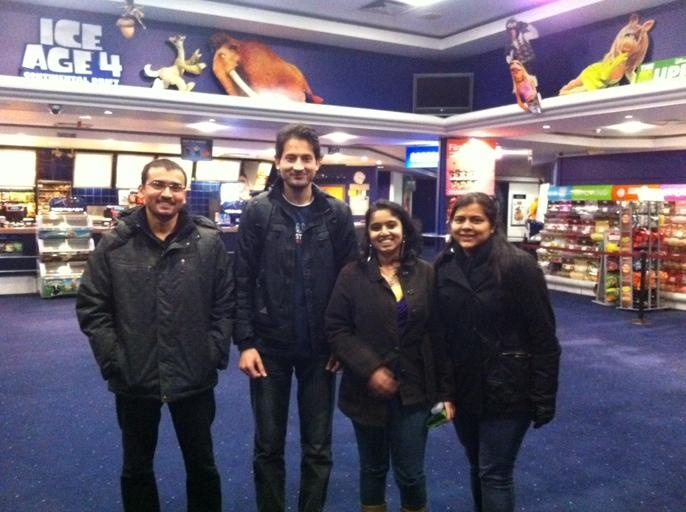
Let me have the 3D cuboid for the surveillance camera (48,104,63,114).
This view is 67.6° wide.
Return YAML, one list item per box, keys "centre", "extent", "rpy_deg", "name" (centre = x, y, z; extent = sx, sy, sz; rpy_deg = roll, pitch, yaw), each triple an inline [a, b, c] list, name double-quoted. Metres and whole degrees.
- centre: [-3.986, -2.078, 7.160]
  extent: [0.152, 0.052, 0.147]
  rpy_deg: [-1, -11, -10]
  name: "surveillance camera"

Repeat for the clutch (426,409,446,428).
- centre: [0.474, 0.825, 2.580]
  extent: [0.095, 0.090, 0.054]
  rpy_deg: [3, 6, 11]
  name: "clutch"

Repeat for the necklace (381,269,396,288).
- centre: [0.237, 0.133, 2.760]
  extent: [0.066, 0.084, 0.075]
  rpy_deg: [-15, 58, -28]
  name: "necklace"

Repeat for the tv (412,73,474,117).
- centre: [1.750, -2.801, 8.909]
  extent: [0.926, 0.617, 0.096]
  rpy_deg: [1, 8, 7]
  name: "tv"
